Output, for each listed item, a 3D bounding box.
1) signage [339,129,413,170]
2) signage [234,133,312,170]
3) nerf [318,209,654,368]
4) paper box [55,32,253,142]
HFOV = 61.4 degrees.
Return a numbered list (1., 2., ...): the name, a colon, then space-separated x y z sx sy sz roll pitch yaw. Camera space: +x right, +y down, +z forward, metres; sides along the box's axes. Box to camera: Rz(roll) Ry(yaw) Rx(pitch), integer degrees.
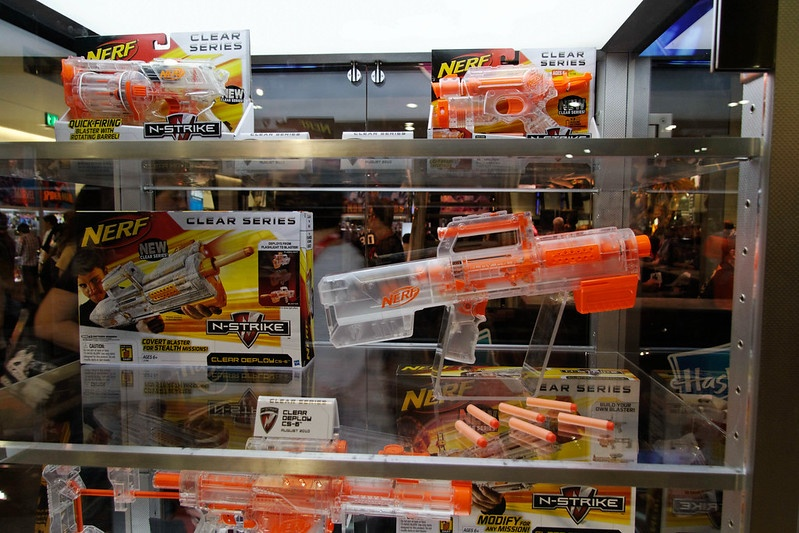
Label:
1. signage: -0.073 -0.363 2.050 0.224 0.133 0.371 -1 5 0
2. signage: -0.386 -0.360 2.038 0.218 0.133 0.388 -3 5 -14
3. nerf: 0.269 0.069 2.056 1.014 0.445 0.171 -9 10 -6
4. paper box: -0.764 -0.538 2.100 0.506 0.293 0.478 -2 2 20
